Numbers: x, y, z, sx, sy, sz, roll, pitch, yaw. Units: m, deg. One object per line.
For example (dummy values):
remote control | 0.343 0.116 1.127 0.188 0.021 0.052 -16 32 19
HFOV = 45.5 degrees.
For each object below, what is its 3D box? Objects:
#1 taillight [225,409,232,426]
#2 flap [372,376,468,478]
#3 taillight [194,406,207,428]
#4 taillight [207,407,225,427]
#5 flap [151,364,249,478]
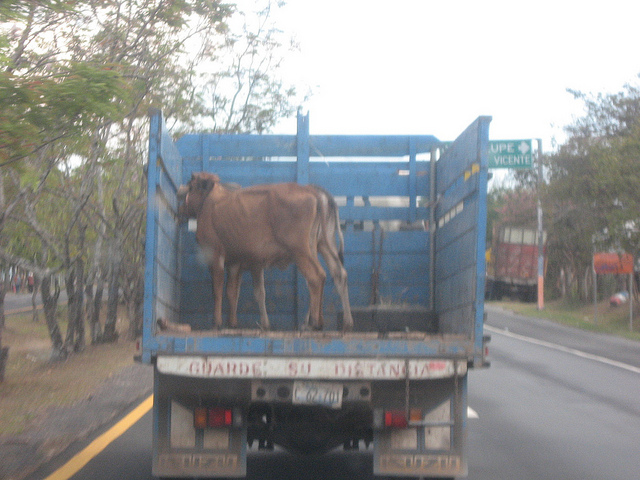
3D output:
taillight | -1.204 2.316 9.999 0.091 0.191 0.037 1 -2 -14
flap | 1.379 2.641 10.536 0.920 1.523 1.207 0 -9 0
taillight | -1.573 2.318 10.026 0.158 0.455 0.037 -1 -7 0
taillight | -1.369 2.309 10.008 0.164 0.260 0.207 2 -6 -6
flap | -1.618 2.741 10.573 1.179 2.024 1.176 0 -7 -3
